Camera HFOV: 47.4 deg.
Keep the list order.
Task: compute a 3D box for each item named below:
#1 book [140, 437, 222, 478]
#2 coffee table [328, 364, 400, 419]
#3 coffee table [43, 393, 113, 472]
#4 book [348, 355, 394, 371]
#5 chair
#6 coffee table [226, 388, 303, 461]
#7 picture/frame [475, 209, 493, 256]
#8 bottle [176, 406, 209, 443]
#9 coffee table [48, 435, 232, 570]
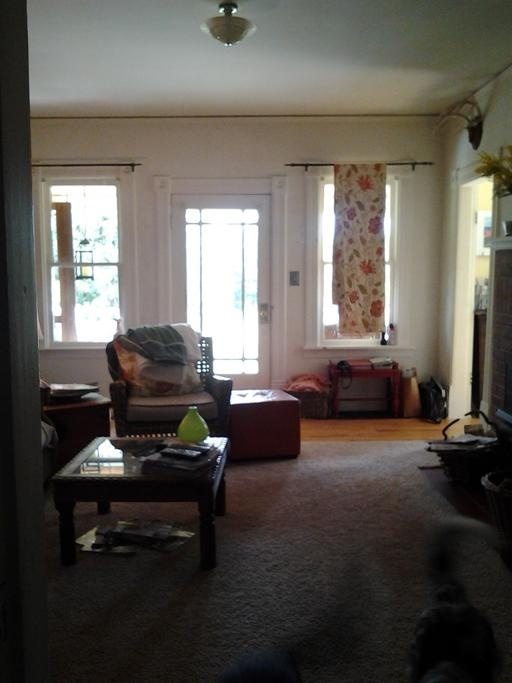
[{"bbox_3d":[-0.297,0.472,2.338,0.176,0.078,0.240,2,5,11],"label":"book"},{"bbox_3d":[0.982,0.421,5.216,0.660,0.495,0.296,0,4,2],"label":"coffee table"},{"bbox_3d":[-1.040,0.518,3.523,0.394,0.380,0.389,-1,10,-9],"label":"coffee table"},{"bbox_3d":[1.037,0.203,5.167,0.414,0.091,0.165,0,4,5],"label":"book"},{"bbox_3d":[-0.614,0.238,3.862,0.720,0.949,0.750,0,-7,-17],"label":"chair"},{"bbox_3d":[0.071,0.522,3.860,0.431,0.327,0.414,0,3,-2],"label":"coffee table"},{"bbox_3d":[1.979,-0.938,5.050,0.119,0.386,0.112,0,4,12],"label":"picture/frame"},{"bbox_3d":[-0.278,0.364,2.628,0.146,0.156,0.148,1,9,-4],"label":"bottle"},{"bbox_3d":[-0.451,0.669,2.544,0.703,0.348,0.750,0,3,9],"label":"coffee table"}]
